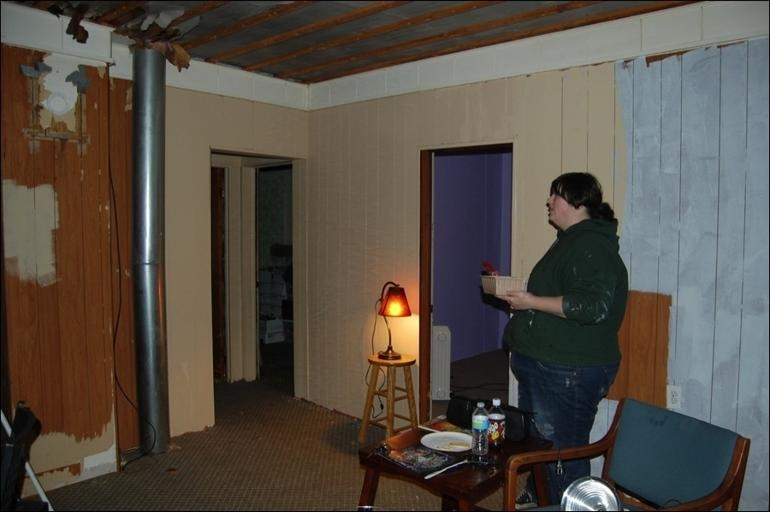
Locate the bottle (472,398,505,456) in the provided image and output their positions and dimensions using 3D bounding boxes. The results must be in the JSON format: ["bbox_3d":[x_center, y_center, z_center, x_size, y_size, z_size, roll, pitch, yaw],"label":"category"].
[{"bbox_3d":[0.631,1.050,3.684,0.146,0.388,0.283,-5,-6,44],"label":"bottle"}]

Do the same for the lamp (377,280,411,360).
[{"bbox_3d":[0.096,0.568,5.395,0.290,0.644,0.538,1,11,2],"label":"lamp"}]

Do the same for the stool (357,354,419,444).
[{"bbox_3d":[0.099,1.299,5.423,0.533,0.750,0.549,6,-2,-40],"label":"stool"}]

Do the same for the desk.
[{"bbox_3d":[0.370,1.263,3.621,0.665,0.522,0.674,2,-2,-39],"label":"desk"}]

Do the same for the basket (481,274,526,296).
[{"bbox_3d":[0.834,0.204,4.333,0.154,0.101,0.234,3,0,-22],"label":"basket"}]
